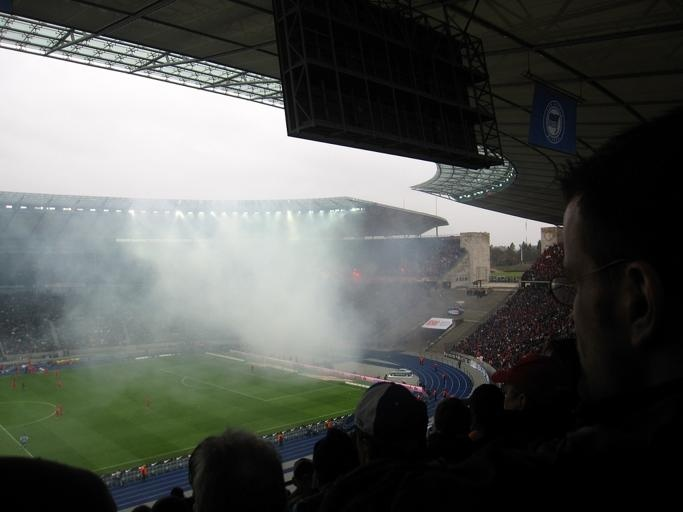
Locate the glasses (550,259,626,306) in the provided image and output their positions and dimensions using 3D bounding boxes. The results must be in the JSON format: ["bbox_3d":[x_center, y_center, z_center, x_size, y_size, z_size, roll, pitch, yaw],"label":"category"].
[{"bbox_3d":[0.726,0.076,1.507,0.168,0.051,0.160,-25,-14,14],"label":"glasses"}]
